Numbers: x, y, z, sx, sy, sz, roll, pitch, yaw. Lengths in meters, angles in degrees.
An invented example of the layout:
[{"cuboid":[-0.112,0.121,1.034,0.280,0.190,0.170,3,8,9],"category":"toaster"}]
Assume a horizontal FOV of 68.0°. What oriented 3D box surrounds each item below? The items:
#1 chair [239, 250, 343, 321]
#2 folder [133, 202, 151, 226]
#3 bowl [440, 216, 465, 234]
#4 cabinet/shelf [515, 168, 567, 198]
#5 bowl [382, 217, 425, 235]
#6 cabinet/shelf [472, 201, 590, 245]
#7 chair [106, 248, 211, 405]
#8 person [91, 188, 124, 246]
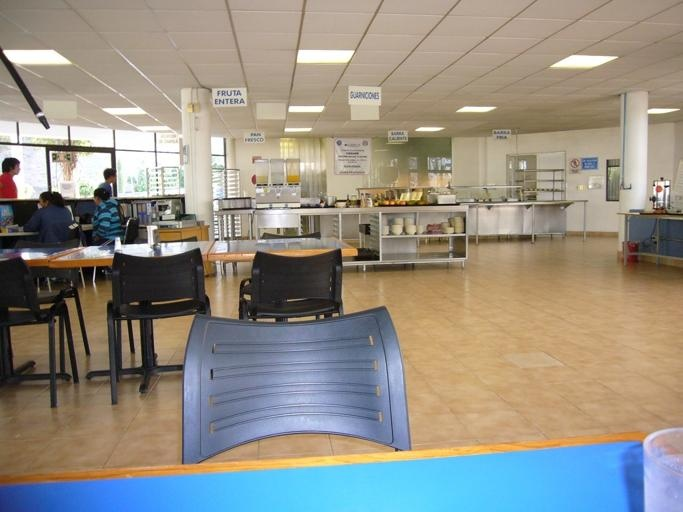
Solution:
[{"cuboid":[-0.375,0.216,3.636,0.647,0.786,0.572,-2,16,-13],"category":"chair"},{"cuboid":[-3.694,-0.772,9.463,0.313,0.403,0.873,-5,10,-21],"category":"folder"},{"cuboid":[1.992,-0.530,9.066,0.433,0.266,0.253,1,4,-2],"category":"bowl"},{"cuboid":[5.906,-2.095,14.897,1.217,0.967,0.372,0,7,4],"category":"cabinet/shelf"},{"cuboid":[1.053,-0.496,8.929,0.605,0.204,0.367,0,-1,-35],"category":"bowl"},{"cuboid":[4.958,-0.968,13.950,3.254,1.080,1.633,-2,10,-2],"category":"cabinet/shelf"},{"cuboid":[-1.431,0.502,3.683,0.862,1.023,0.825,-1,1,-36],"category":"chair"},{"cuboid":[-3.752,-0.607,8.100,0.452,0.910,1.028,-6,11,-24],"category":"person"}]
